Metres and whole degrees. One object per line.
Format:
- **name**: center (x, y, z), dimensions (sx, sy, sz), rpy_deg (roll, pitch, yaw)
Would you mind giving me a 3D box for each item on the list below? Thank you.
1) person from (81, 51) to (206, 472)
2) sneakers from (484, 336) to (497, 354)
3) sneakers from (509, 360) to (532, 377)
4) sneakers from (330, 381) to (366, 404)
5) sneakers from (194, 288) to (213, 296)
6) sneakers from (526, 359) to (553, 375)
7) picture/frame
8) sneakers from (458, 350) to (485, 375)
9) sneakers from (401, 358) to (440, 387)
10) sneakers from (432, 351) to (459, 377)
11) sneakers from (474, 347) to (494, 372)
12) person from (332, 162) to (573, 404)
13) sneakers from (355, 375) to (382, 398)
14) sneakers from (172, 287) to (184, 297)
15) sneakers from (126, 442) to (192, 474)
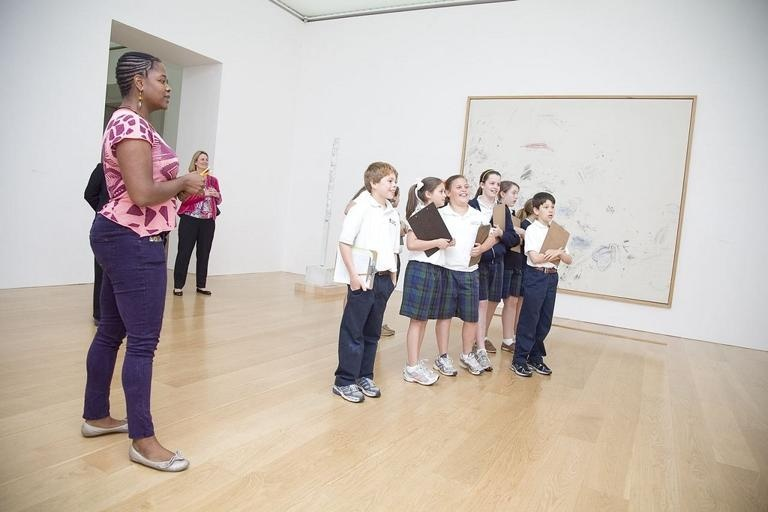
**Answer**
- **person**: center (-1.279, 0.023, 2.383), dimensions (0.702, 2.186, 0.428), rpy_deg (11, 11, 33)
- **sneakers**: center (1.119, 0.959, 4.665), dimensions (0.096, 0.092, 0.225), rpy_deg (-4, -4, -20)
- **sneakers**: center (1.258, 1.039, 4.084), dimensions (0.095, 0.090, 0.207), rpy_deg (1, -1, -26)
- **sneakers**: center (-0.257, 1.019, 3.299), dimensions (0.213, 0.093, 0.101), rpy_deg (4, 1, 29)
- **sneakers**: center (-2.341, 0.470, 5.768), dimensions (0.209, 0.058, 0.085), rpy_deg (0, -1, 37)
- **sneakers**: center (1.449, 1.052, 4.207), dimensions (0.250, 0.117, 0.102), rpy_deg (8, 7, 43)
- **picture/frame**: center (2.697, -0.664, 5.686), dimensions (2.848, 2.577, 0.103), rpy_deg (8, 6, 32)
- **sneakers**: center (0.792, 0.975, 4.057), dimensions (0.111, 0.128, 0.275), rpy_deg (-4, 11, -35)
- **sneakers**: center (0.304, 0.980, 3.728), dimensions (0.280, 0.140, 0.170), rpy_deg (1, -1, 19)
- **sneakers**: center (0.540, 0.958, 3.955), dimensions (0.112, 0.128, 0.260), rpy_deg (2, -1, -29)
- **sneakers**: center (0.926, 0.973, 4.168), dimensions (0.102, 0.111, 0.250), rpy_deg (-4, 21, -25)
- **person**: center (0.180, 0.170, 3.559), dimensions (1.231, 1.753, 0.456), rpy_deg (-2, 11, -35)
- **sneakers**: center (-0.118, 1.001, 3.373), dimensions (0.197, 0.080, 0.092), rpy_deg (10, 3, 41)
- **sneakers**: center (-2.574, 0.453, 5.528), dimensions (0.103, 0.102, 0.243), rpy_deg (1, -5, -29)
- **sneakers**: center (-1.210, 1.101, 2.387), dimensions (0.286, 0.108, 0.139), rpy_deg (5, -1, 5)
